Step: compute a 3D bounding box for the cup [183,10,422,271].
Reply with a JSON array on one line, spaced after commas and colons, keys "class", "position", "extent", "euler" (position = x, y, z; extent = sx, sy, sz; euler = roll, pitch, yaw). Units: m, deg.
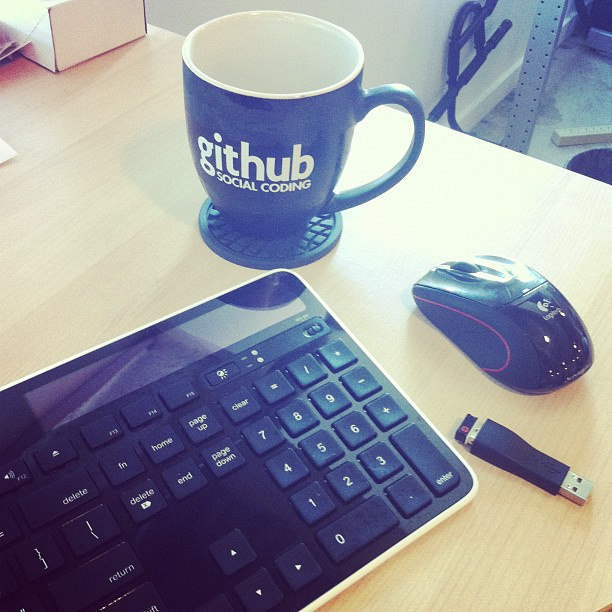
[{"class": "cup", "position": [-0.016, -0.120, 0.427], "extent": [0.141, 0.139, 0.132], "euler": [3, 51, -3]}]

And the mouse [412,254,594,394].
[{"class": "mouse", "position": [0.131, 0.012, 0.425], "extent": [0.069, 0.040, 0.114], "euler": [-35, 58, -27]}]
